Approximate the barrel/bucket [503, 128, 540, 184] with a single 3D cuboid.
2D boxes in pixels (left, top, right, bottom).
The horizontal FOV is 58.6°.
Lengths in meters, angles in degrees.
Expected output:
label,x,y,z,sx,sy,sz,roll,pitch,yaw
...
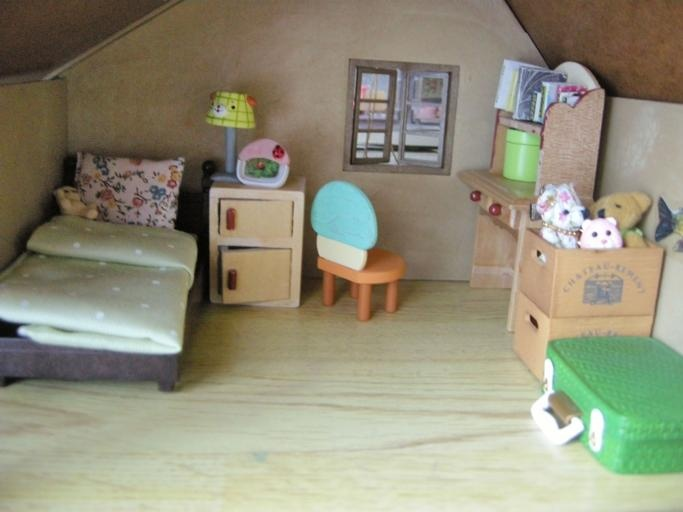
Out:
label,x,y,z,sx,sy,sz,roll,pitch,yaw
barrel/bucket,1.095,-0.613,3.679,0.159,0.323,0.376,-1,19,-5
